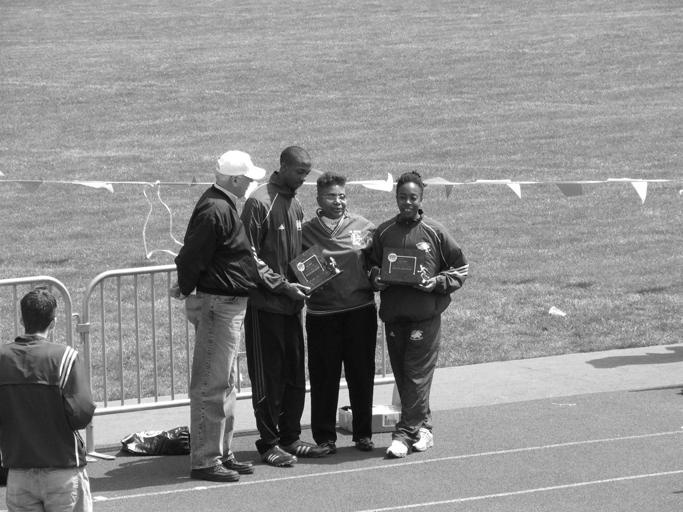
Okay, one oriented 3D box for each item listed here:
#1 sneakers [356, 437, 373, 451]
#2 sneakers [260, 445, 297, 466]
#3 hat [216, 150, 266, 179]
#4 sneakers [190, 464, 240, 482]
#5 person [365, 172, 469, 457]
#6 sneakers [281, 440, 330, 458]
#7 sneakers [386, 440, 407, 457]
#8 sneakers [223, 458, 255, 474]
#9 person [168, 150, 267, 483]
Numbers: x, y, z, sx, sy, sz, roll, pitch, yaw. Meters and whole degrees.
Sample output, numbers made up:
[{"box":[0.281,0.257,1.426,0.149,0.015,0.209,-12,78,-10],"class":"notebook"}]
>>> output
[{"box":[0.263,2.049,16.046,0.191,0.102,0.085,0,-24,19],"class":"sneakers"},{"box":[-0.674,2.135,15.753,0.350,0.158,0.167,5,34,39],"class":"sneakers"},{"box":[-1.058,-0.917,15.466,0.454,0.174,0.288,9,33,-12],"class":"hat"},{"box":[-1.326,2.275,15.480,0.516,0.210,0.188,0,0,3],"class":"sneakers"},{"box":[0.826,0.595,16.022,0.989,2.994,0.907,-4,11,-7],"class":"person"},{"box":[-0.386,2.090,15.922,0.513,0.185,0.188,0,9,4],"class":"sneakers"},{"box":[0.595,2.081,15.841,0.123,0.114,0.259,-2,-7,13],"class":"sneakers"},{"box":[-1.092,2.217,15.606,0.354,0.144,0.142,6,8,3],"class":"sneakers"},{"box":[-1.263,0.631,15.377,0.925,3.372,0.708,-6,12,-18],"class":"person"}]
